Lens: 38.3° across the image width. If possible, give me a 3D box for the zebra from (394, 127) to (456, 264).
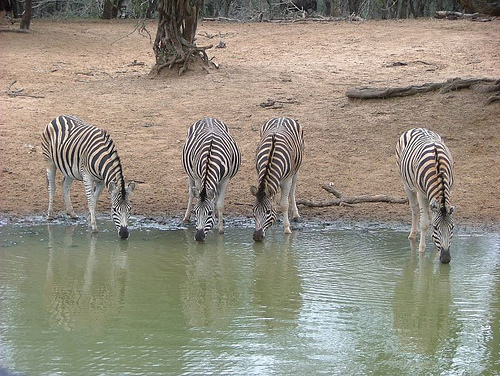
[{"bbox_3d":[2.823,0.074,11.374,0.676,1.977,1.656,0,5,1],"label":"zebra"}]
